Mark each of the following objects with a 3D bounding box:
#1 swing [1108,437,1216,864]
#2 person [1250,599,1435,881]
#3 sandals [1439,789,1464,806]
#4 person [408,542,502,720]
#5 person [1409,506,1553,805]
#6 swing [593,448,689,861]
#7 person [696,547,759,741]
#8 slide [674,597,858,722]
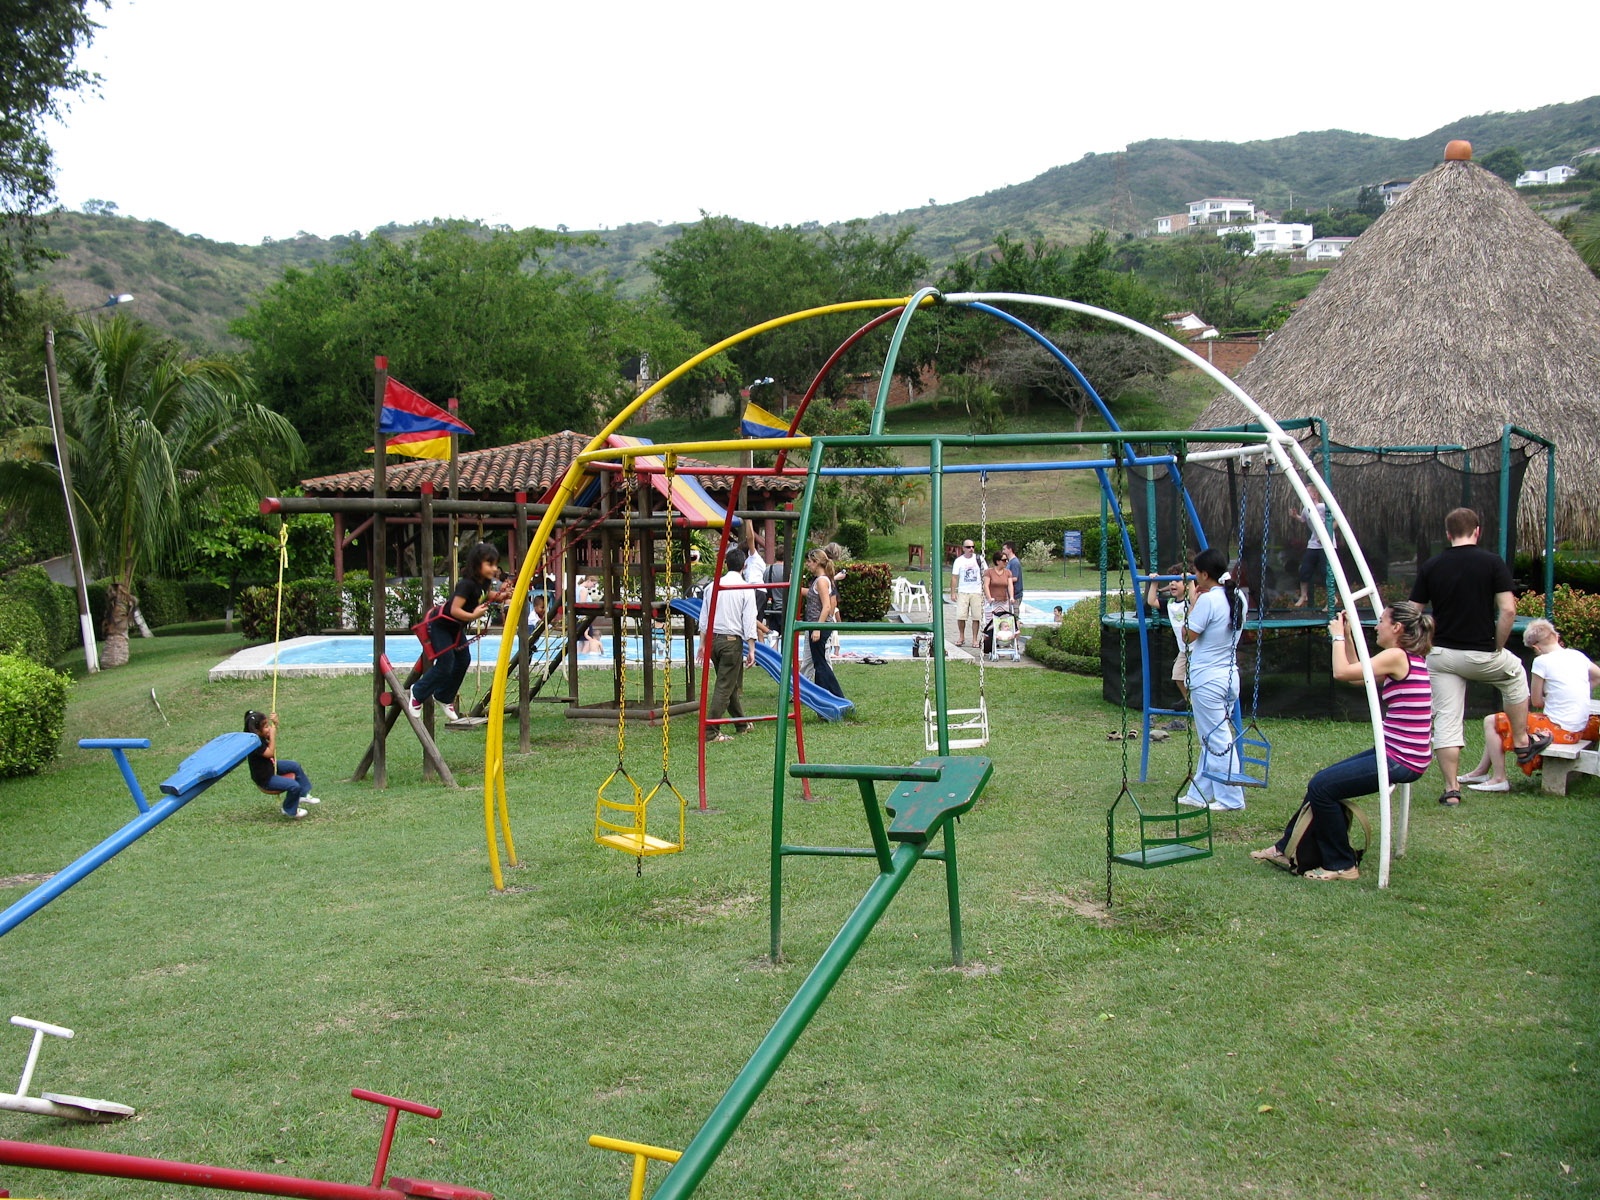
[{"bbox_3d":[3.195,0.689,14.297,0.937,4.746,1.252,4,11,18],"label":"swing"},{"bbox_3d":[3.998,0.967,11.226,1.042,1.931,1.010,7,7,18],"label":"person"},{"bbox_3d":[5.224,1.566,12.469,0.181,0.112,0.240,3,13,14],"label":"sandals"},{"bbox_3d":[-3.112,0.308,14.136,0.721,1.896,0.715,1,8,-24],"label":"person"},{"bbox_3d":[5.550,0.265,12.769,0.912,2.863,1.067,0,0,17],"label":"person"},{"bbox_3d":[-1.274,1.540,12.499,0.900,4.489,0.782,-1,5,-6],"label":"swing"},{"bbox_3d":[-0.736,0.458,16.332,0.481,1.955,0.700,4,9,9],"label":"person"},{"bbox_3d":[-0.549,0.803,17.317,1.365,1.501,1.652,2,6,-22],"label":"slide"}]
